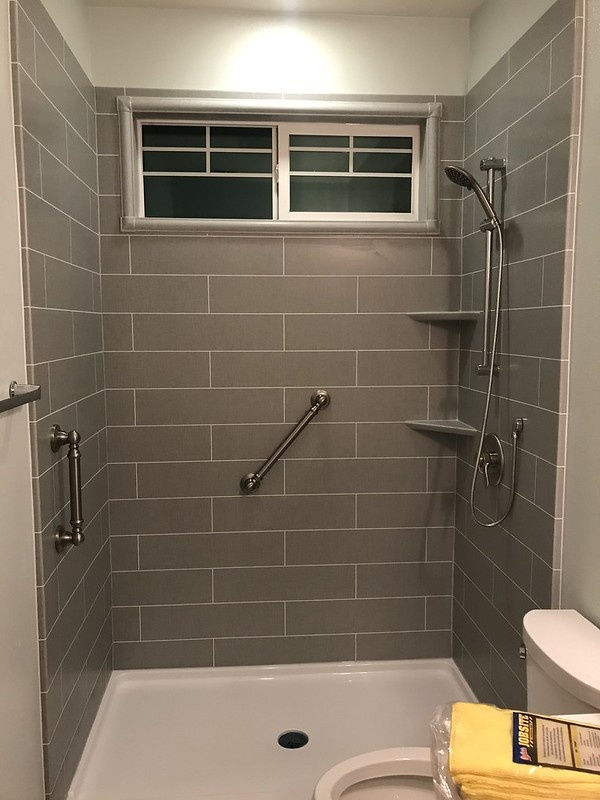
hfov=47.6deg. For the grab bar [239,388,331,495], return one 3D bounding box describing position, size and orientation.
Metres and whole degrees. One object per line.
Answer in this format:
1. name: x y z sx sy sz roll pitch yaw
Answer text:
1. grab bar: -0.069 0.139 2.609 0.061 0.051 0.414 30 -93 -22
